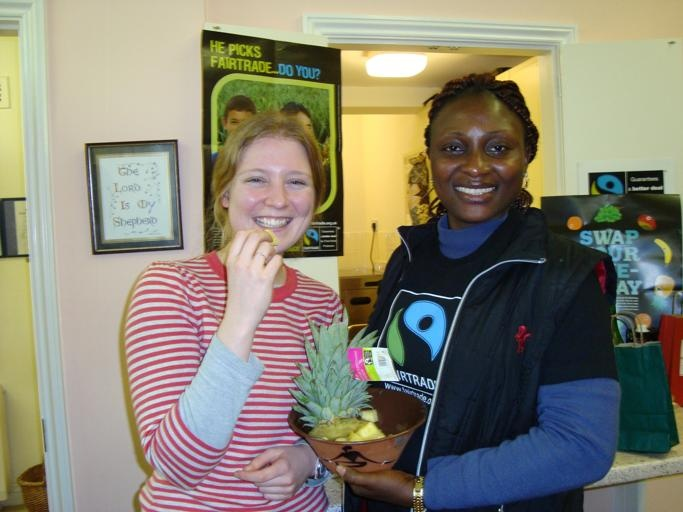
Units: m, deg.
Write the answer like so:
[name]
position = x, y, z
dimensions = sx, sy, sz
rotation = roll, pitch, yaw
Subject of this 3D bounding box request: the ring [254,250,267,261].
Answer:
[ring]
position = -0.229, 0.001, 1.723
dimensions = 0.044, 0.022, 0.031
rotation = -1, 3, -22

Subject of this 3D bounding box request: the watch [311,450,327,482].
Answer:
[watch]
position = -0.076, 0.677, 1.939
dimensions = 0.037, 0.100, 0.045
rotation = -3, -18, -10

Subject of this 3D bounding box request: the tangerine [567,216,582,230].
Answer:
[tangerine]
position = 1.129, -0.156, 2.896
dimensions = 0.073, 0.062, 0.064
rotation = 6, -6, 18
